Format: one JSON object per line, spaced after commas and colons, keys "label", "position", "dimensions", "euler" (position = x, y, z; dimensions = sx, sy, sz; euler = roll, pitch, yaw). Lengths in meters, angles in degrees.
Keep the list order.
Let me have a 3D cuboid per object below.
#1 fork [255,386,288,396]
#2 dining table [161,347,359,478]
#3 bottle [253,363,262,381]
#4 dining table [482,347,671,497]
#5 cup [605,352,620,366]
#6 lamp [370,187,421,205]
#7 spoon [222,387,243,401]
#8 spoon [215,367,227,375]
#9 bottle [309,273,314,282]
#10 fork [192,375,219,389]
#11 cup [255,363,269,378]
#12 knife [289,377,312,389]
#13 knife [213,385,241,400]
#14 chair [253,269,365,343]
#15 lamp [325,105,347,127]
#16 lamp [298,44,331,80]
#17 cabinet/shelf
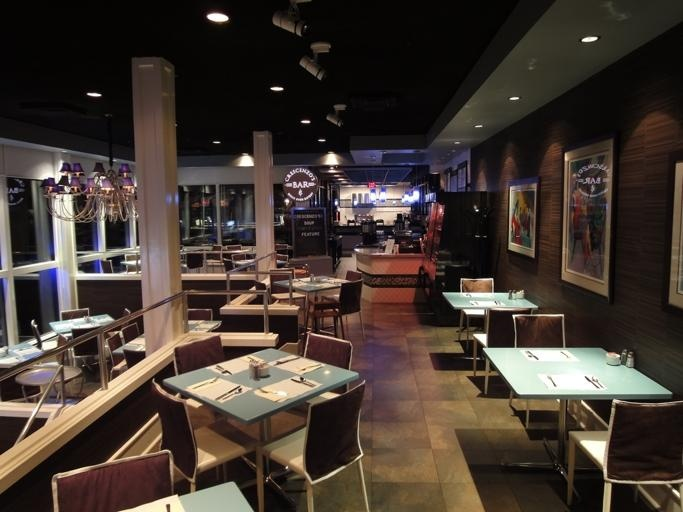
{"label": "fork", "position": [-0.543, 1.057, 4.081], "dimensions": [0.321, 0.053, 0.076], "euler": [0, -2, 21]}
{"label": "dining table", "position": [-0.719, 1.040, 4.248], "dimensions": [0.968, 0.616, 0.996], "euler": [9, 12, 38]}
{"label": "bottle", "position": [-0.700, 0.964, 4.316], "dimensions": [0.100, 0.113, 0.098], "euler": [-5, 8, -35]}
{"label": "dining table", "position": [1.940, 1.377, 4.490], "dimensions": [1.060, 0.899, 1.086], "euler": [2, 6, 23]}
{"label": "cup", "position": [2.410, 0.919, 4.616], "dimensions": [0.112, 0.062, 0.086], "euler": [3, -4, -27]}
{"label": "lamp", "position": [2.316, -2.599, 22.676], "dimensions": [1.627, 0.503, 1.639], "euler": [0, 0, -3]}
{"label": "spoon", "position": [-0.853, 1.074, 4.039], "dimensions": [0.055, 0.025, 0.175], "euler": [8, 6, 23]}
{"label": "spoon", "position": [-1.038, 0.987, 4.470], "dimensions": [0.045, 0.022, 0.145], "euler": [-5, 3, -40]}
{"label": "bottle", "position": [-0.449, 0.337, 7.829], "dimensions": [0.085, 0.150, 0.086], "euler": [-1, 1, 0]}
{"label": "fork", "position": [-1.109, 1.023, 4.209], "dimensions": [0.059, 0.022, 0.201], "euler": [6, 6, 26]}
{"label": "cup", "position": [-0.674, 0.965, 4.379], "dimensions": [0.104, 0.105, 0.108], "euler": [-1, 2, 0]}
{"label": "knife", "position": [-0.318, 1.027, 4.215], "dimensions": [0.062, 0.029, 0.205], "euler": [-8, 4, -37]}
{"label": "knife", "position": [-0.873, 1.066, 4.041], "dimensions": [0.057, 0.028, 0.194], "euler": [7, 9, 28]}
{"label": "chair", "position": [-0.127, 0.699, 7.650], "dimensions": [1.079, 0.716, 1.104], "euler": [0, 6, 20]}
{"label": "lamp", "position": [-0.058, -2.044, 7.579], "dimensions": [0.326, 0.304, 0.236], "euler": [6, -7, -27]}
{"label": "lamp", "position": [-0.250, -1.916, 5.207], "dimensions": [0.294, 0.357, 0.450], "euler": [-1, 5, -1]}
{"label": "cabinet/shelf", "position": [1.909, 0.051, 8.382], "dimensions": [0.833, 2.044, 2.229], "euler": [1, 3, 9]}
